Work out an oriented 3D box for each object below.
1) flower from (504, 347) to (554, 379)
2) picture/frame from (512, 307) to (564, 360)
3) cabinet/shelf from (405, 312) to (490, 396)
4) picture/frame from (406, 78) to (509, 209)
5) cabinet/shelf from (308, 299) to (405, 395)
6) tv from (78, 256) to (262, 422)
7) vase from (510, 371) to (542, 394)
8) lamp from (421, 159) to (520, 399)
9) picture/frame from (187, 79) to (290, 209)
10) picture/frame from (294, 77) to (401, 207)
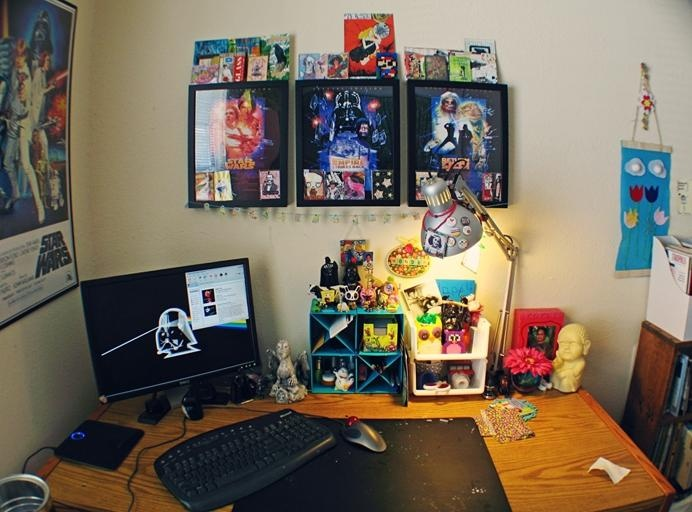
[{"bbox_3d":[0.749,0.434,2.139,0.136,0.054,0.142,0,26,-3],"label":"flower"},{"bbox_3d":[0.823,0.337,2.261,0.192,0.235,0.080,1,5,0],"label":"picture/frame"},{"bbox_3d":[0.428,0.436,2.284,0.314,0.333,0.246,-1,2,0],"label":"cabinet/shelf"},{"bbox_3d":[0.445,-0.486,2.177,0.521,0.633,0.050,0,1,-6],"label":"picture/frame"},{"bbox_3d":[0.042,0.374,2.196,0.368,0.344,0.124,0,-1,1],"label":"cabinet/shelf"},{"bbox_3d":[-0.698,0.348,2.075,0.543,0.438,0.087,-15,3,-18],"label":"tv"},{"bbox_3d":[0.750,0.522,2.211,0.098,0.100,0.100,3,3,40],"label":"vase"},{"bbox_3d":[0.500,0.098,2.149,0.397,0.956,0.388,1,10,8],"label":"lamp"},{"bbox_3d":[-0.445,-0.491,2.200,0.481,0.607,0.031,0,4,6],"label":"picture/frame"},{"bbox_3d":[0.007,-0.499,2.194,0.478,0.585,0.046,-1,5,1],"label":"picture/frame"}]
